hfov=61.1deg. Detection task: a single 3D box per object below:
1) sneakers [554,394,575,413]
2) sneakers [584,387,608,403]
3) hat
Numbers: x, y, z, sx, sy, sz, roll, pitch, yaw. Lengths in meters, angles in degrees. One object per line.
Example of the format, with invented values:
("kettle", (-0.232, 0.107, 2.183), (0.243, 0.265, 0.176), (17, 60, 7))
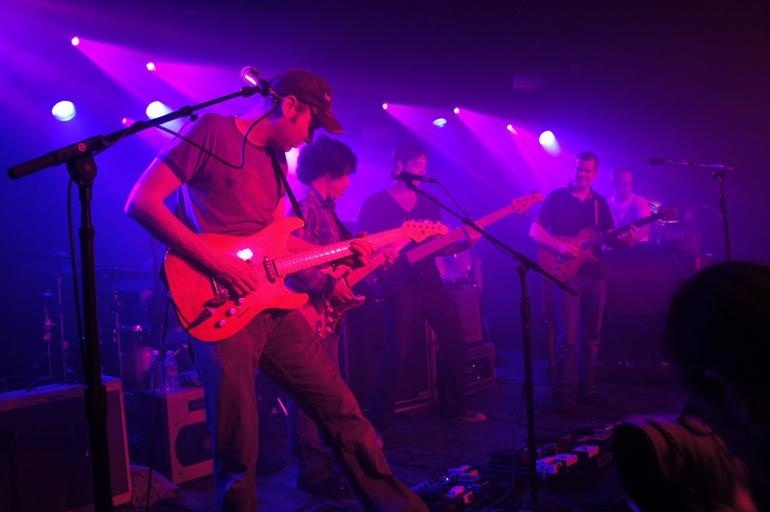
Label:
("sneakers", (2.139, 1.763, 7.751), (0.180, 0.134, 0.183), (-4, -9, 30))
("sneakers", (2.582, 1.733, 8.077), (0.283, 0.166, 0.369), (-8, -7, 14))
("hat", (-0.660, -1.378, 5.719), (0.818, 0.395, 0.511), (20, -3, 0))
